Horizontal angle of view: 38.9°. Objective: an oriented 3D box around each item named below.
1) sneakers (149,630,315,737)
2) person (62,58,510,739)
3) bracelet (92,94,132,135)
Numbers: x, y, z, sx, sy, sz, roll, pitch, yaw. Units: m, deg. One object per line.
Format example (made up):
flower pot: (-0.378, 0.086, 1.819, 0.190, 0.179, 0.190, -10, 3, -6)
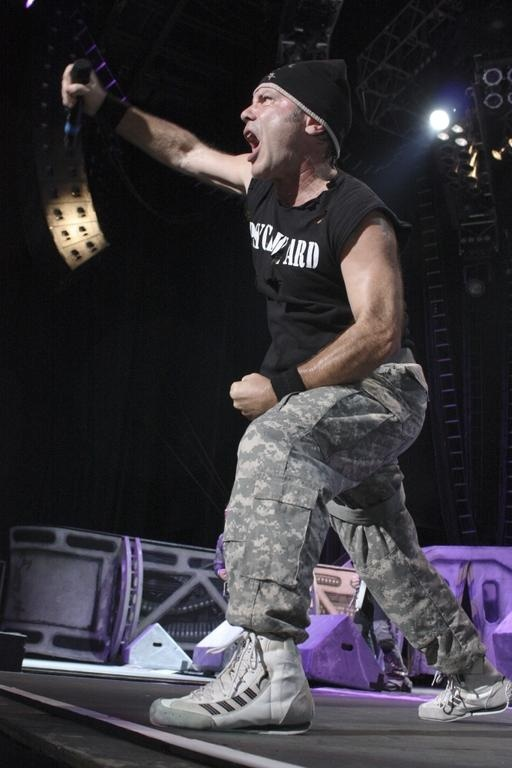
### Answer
sneakers: (-0.020, 0.609, 1.479, 0.437, 0.235, 0.142, 6, -19, -2)
person: (0.185, -0.063, 1.886, 0.539, 1.895, 0.909, -4, -13, 30)
bracelet: (-0.536, -1.009, 2.752, 0.120, 0.126, 0.128, -7, 13, 16)
